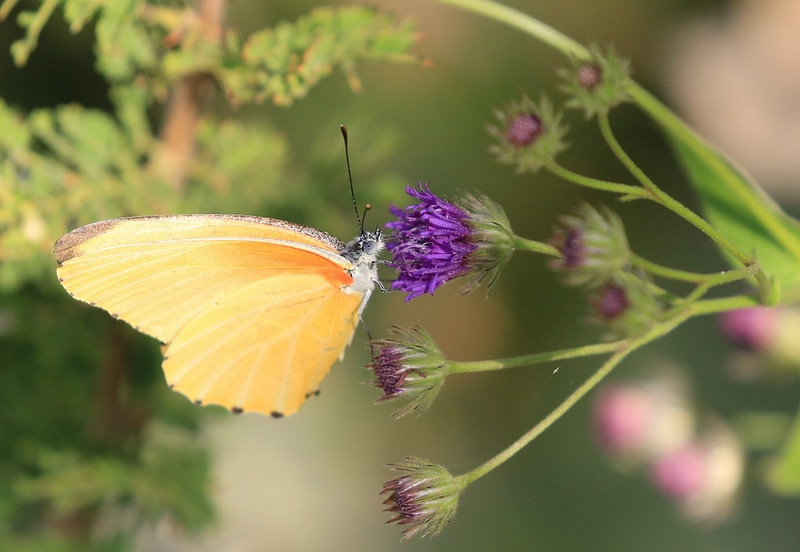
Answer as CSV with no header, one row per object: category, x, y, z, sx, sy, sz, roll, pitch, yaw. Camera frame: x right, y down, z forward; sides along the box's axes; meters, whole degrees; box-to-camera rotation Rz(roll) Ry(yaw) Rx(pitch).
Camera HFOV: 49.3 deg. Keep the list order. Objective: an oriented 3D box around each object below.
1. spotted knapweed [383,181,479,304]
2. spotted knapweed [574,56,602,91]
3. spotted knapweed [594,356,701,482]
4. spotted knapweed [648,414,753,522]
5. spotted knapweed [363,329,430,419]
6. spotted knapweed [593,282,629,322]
spotted knapweed,0.116,-0.125,3.329,0.216,0.391,0.424,-2,81,-37
spotted knapweed,0.709,-0.749,3.223,0.098,0.042,0.103,-5,87,21
spotted knapweed,1.013,0.635,3.619,0.470,0.137,0.504,-26,21,-19
spotted knapweed,1.246,0.815,3.531,0.298,0.277,0.326,-23,61,-28
spotted knapweed,-0.008,0.350,3.357,0.223,0.300,0.388,4,51,-10
spotted knapweed,0.782,0.098,3.197,0.116,0.135,0.036,24,6,6
